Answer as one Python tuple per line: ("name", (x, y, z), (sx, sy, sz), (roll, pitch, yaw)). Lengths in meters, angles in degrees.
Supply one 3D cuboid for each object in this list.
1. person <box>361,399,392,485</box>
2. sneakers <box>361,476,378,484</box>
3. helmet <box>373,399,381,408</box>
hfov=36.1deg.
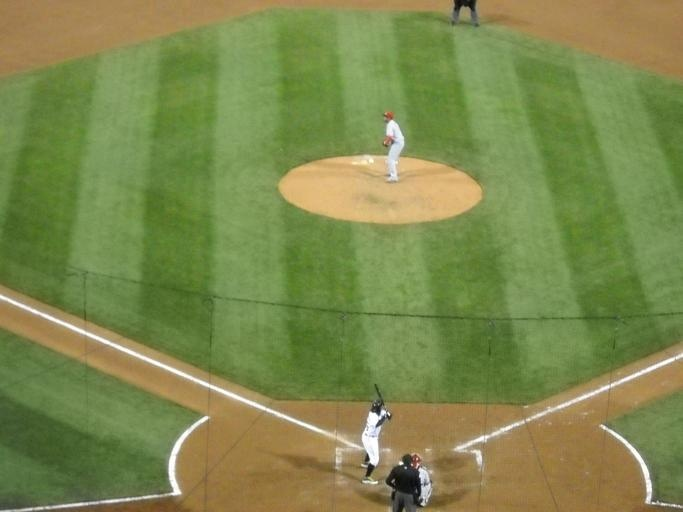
("person", (0.764, 4.433, 24.570), (0.620, 1.802, 1.522), (2, -25, 1))
("sneakers", (0.626, 5.207, 24.350), (0.357, 0.172, 0.145), (-1, 19, 0))
("helmet", (0.822, 3.416, 24.282), (0.163, 0.218, 0.198), (-5, -26, 16))
